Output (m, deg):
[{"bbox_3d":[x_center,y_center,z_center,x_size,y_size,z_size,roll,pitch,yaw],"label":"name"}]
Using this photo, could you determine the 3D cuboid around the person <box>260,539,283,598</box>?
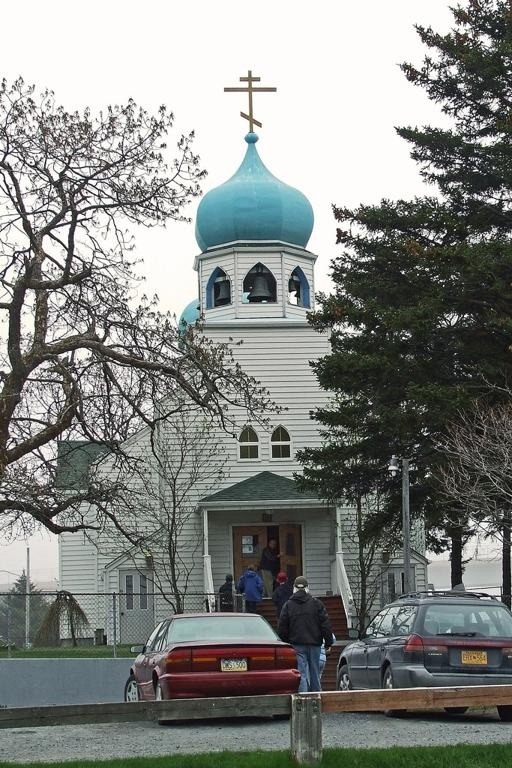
[{"bbox_3d":[0.277,3.388,31.180,0.375,1.209,0.404,-7,16,-11],"label":"person"}]

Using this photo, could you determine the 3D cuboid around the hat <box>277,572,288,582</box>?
[{"bbox_3d":[0.382,2.724,23.763,0.120,0.115,0.186,-1,11,-9],"label":"hat"}]

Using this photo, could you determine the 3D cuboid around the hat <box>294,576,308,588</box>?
[{"bbox_3d":[0.499,2.179,18.698,0.173,0.168,0.314,1,5,3],"label":"hat"}]

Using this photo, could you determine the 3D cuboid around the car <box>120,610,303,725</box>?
[{"bbox_3d":[-0.456,2.860,17.933,1.457,0.925,1.878,2,-12,-17],"label":"car"}]
